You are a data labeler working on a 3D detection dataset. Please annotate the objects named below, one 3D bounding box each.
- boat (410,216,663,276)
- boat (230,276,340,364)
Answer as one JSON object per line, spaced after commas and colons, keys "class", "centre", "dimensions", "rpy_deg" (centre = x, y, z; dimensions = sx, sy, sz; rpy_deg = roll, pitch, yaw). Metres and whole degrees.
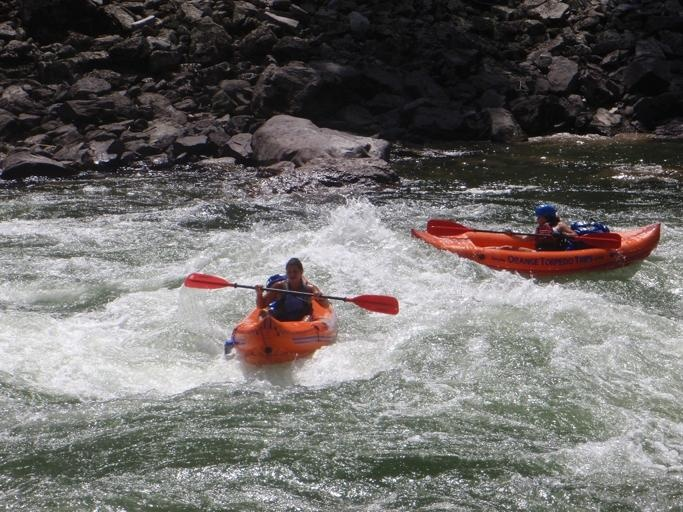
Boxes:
{"class": "boat", "centre": [3.631, -0.114, 15.817], "dimensions": [3.869, 0.583, 1.366], "rpy_deg": [-1, 16, 2]}
{"class": "boat", "centre": [-0.813, 1.182, 13.594], "dimensions": [1.513, 0.780, 0.864], "rpy_deg": [-9, 32, -25]}
